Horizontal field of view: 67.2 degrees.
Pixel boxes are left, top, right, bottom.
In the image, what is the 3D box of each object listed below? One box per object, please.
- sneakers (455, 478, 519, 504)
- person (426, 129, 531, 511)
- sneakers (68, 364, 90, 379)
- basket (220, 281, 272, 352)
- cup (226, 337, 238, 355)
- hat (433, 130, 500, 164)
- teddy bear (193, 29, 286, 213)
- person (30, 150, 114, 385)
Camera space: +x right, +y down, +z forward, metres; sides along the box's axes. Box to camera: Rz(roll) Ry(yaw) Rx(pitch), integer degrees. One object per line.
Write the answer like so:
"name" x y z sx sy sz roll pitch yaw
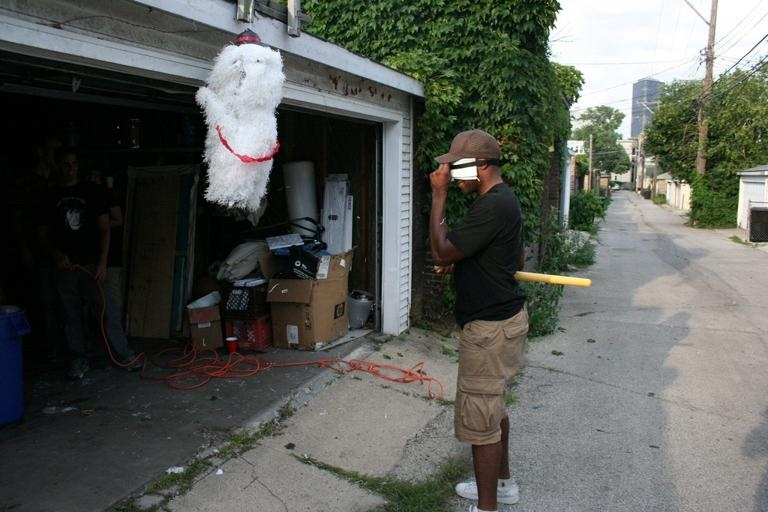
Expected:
"sneakers" 0.968 2.219 5.608 0.641 0.286 0.245 3 -3 9
"person" 0.864 0.652 5.199 0.871 3.512 0.711 -3 9 -12
"sneakers" -3.696 1.387 6.986 0.177 0.193 0.191 6 1 16
"basket" -1.865 0.810 7.803 0.632 0.931 0.320 -4 9 -17
"cup" -2.051 1.197 7.747 0.160 0.222 0.253 -4 9 -16
"hat" 0.776 -0.996 5.349 0.698 0.344 0.496 2 5 1
"teddy bear" -1.297 -1.227 5.272 0.786 1.640 0.408 -4 9 -18
"person" -3.728 0.084 7.020 0.772 2.697 0.480 -7 11 -35
